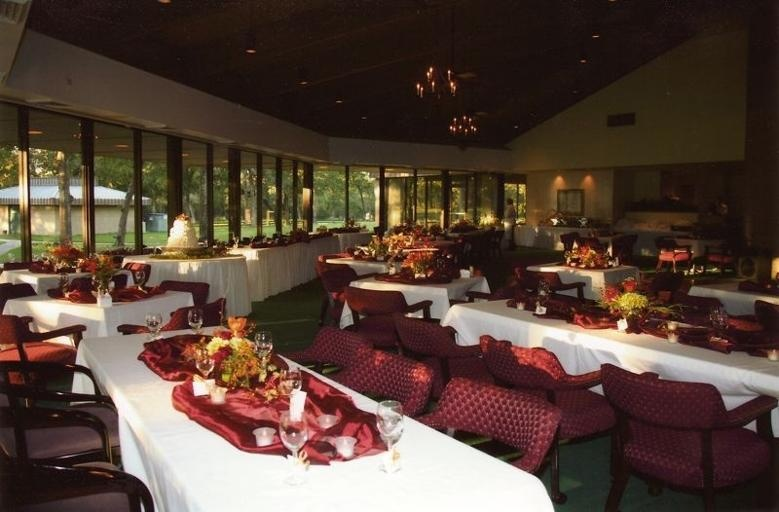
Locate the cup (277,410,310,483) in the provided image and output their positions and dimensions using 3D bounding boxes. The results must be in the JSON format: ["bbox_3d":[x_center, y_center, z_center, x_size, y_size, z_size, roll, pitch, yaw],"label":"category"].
[{"bbox_3d":[-0.502,0.988,2.908,0.131,0.356,0.219,-3,4,-9],"label":"cup"}]

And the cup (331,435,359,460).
[{"bbox_3d":[-0.250,1.041,3.012,0.104,0.074,0.111,2,2,0],"label":"cup"}]

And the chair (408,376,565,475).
[{"bbox_3d":[0.731,0.972,3.664,0.648,0.830,0.692,16,-9,32],"label":"chair"}]

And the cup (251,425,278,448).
[{"bbox_3d":[-0.688,1.002,3.076,0.099,0.069,0.097,1,-1,0],"label":"cup"}]

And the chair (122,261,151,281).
[{"bbox_3d":[-3.450,0.220,7.500,0.247,0.314,0.272,1,-6,-2],"label":"chair"}]

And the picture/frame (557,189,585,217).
[{"bbox_3d":[6.579,-1.882,19.985,0.114,0.964,0.993,-1,5,-41],"label":"picture/frame"}]

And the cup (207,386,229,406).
[{"bbox_3d":[-1.053,0.857,3.377,0.100,0.103,0.108,4,-4,0],"label":"cup"}]

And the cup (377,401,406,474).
[{"bbox_3d":[0.000,0.950,2.978,0.126,0.362,0.245,-2,4,0],"label":"cup"}]

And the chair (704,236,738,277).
[{"bbox_3d":[8.231,0.047,13.760,0.654,0.809,2.089,0,4,32],"label":"chair"}]

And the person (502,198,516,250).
[{"bbox_3d":[4.283,-1.106,19.922,0.370,1.759,1.248,-1,4,11],"label":"person"}]

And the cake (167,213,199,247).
[{"bbox_3d":[-3.431,-0.380,9.149,0.561,0.555,0.455,0,4,32],"label":"cake"}]

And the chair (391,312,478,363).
[{"bbox_3d":[0.406,0.706,4.883,0.484,0.561,0.467,-10,12,-34],"label":"chair"}]
